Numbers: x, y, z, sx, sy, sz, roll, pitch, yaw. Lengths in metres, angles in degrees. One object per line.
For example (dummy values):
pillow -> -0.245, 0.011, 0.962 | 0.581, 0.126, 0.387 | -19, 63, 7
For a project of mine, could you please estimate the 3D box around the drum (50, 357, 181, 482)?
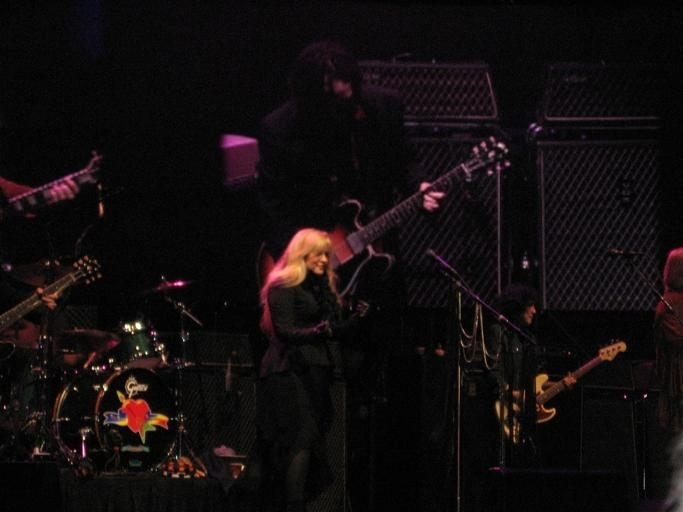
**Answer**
drum -> -1.605, 1.342, 6.924 | 0.813, 0.898, 0.598 | -3, -8, 13

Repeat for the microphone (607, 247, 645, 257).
microphone -> 2.317, -0.037, 6.903 | 0.430, 0.048, 0.172 | 3, -8, -29

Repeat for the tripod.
tripod -> -1.266, 1.214, 6.578 | 0.357, 0.900, 0.123 | -2, 0, 0

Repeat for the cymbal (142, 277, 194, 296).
cymbal -> -1.421, 0.232, 6.895 | 0.383, 0.158, 0.115 | -2, -15, 10
